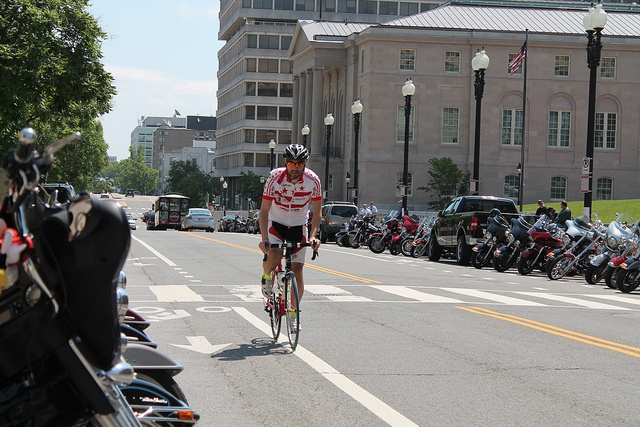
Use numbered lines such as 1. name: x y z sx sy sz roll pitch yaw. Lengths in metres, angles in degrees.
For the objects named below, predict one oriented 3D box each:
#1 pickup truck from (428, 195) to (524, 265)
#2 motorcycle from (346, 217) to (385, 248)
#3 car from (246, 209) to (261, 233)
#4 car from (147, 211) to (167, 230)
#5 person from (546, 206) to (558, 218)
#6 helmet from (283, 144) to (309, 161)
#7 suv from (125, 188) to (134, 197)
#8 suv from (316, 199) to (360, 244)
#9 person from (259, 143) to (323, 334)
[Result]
1. pickup truck: 5.314 0.487 26.060 1.778 1.500 3.479 -2 2 -12
2. motorcycle: 2.331 0.914 34.647 2.123 1.464 1.281 3 -11 22
3. car: -4.977 0.729 55.384 1.358 1.093 3.107 1 3 -7
4. car: -16.118 0.650 73.792 1.801 1.766 6.423 1 3 -14
5. person: 9.043 -0.071 29.256 0.468 0.379 1.138 14 10 14
6. helmet: -0.304 -0.759 9.270 0.289 0.217 0.376 7 0 -4
7. suv: -53.236 -5.782 208.831 1.973 1.656 3.748 -1 5 -13
8. suv: 1.090 0.367 41.141 1.953 2.169 4.215 1 4 -5
9. person: -0.395 0.206 9.572 0.844 2.243 0.913 6 0 28
